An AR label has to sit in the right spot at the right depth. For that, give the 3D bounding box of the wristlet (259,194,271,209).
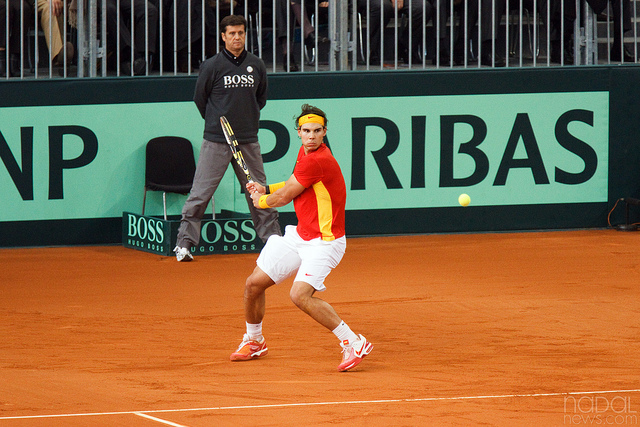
[{"bbox_3d":[-0.527,-0.118,8.824,0.077,0.107,0.108,-2,-28,20],"label":"wristlet"}]

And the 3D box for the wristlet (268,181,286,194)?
[{"bbox_3d":[-0.421,-0.255,9.038,0.119,0.135,0.129,-3,16,-6],"label":"wristlet"}]

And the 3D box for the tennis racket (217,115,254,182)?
[{"bbox_3d":[-0.997,-0.817,11.004,0.066,0.889,0.230,-23,-4,-18],"label":"tennis racket"}]

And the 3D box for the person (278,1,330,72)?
[{"bbox_3d":[-0.229,-2.472,13.008,0.640,1.005,0.788,1,2,18],"label":"person"}]

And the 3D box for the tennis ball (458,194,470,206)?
[{"bbox_3d":[1.869,-0.180,11.887,0.130,0.171,0.137,9,1,0],"label":"tennis ball"}]
